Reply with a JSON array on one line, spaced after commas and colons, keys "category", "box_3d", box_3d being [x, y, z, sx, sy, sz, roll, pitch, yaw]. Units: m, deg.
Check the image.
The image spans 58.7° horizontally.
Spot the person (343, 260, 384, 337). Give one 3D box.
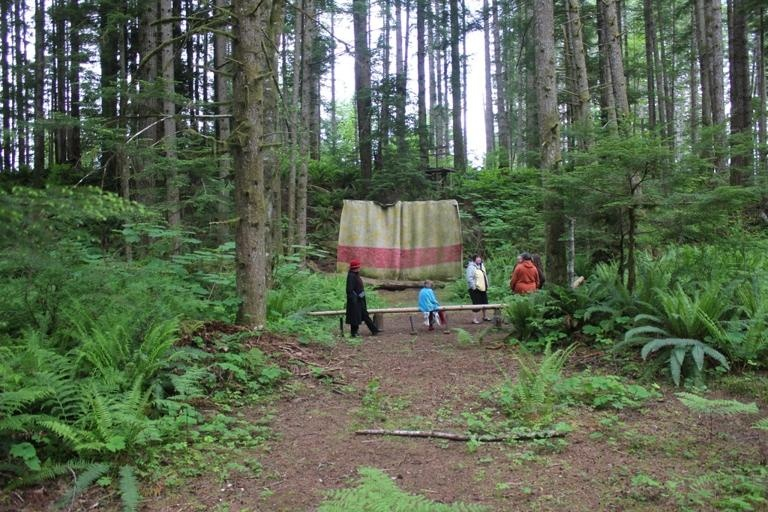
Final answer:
[{"category": "person", "box_3d": [-0.568, 1.057, 17.221, 0.734, 1.862, 1.094, -2, 3, -1]}]

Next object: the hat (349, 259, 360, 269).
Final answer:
[{"category": "hat", "box_3d": [-0.736, 0.219, 17.206, 0.215, 0.139, 0.230, -1, 1, -16]}]

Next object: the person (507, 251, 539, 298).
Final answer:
[{"category": "person", "box_3d": [3.538, 0.434, 17.165, 0.659, 0.969, 0.909, -1, 2, 15]}]

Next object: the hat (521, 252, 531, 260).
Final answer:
[{"category": "hat", "box_3d": [3.619, 0.011, 17.284, 0.205, 0.108, 0.200, -5, 7, -41]}]

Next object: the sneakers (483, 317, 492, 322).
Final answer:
[{"category": "sneakers", "box_3d": [2.735, 1.704, 18.085, 0.207, 0.079, 0.075, -3, 3, 27]}]

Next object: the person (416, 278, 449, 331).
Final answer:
[{"category": "person", "box_3d": [1.236, 1.267, 17.468, 0.698, 1.252, 0.858, -1, 3, 4]}]
